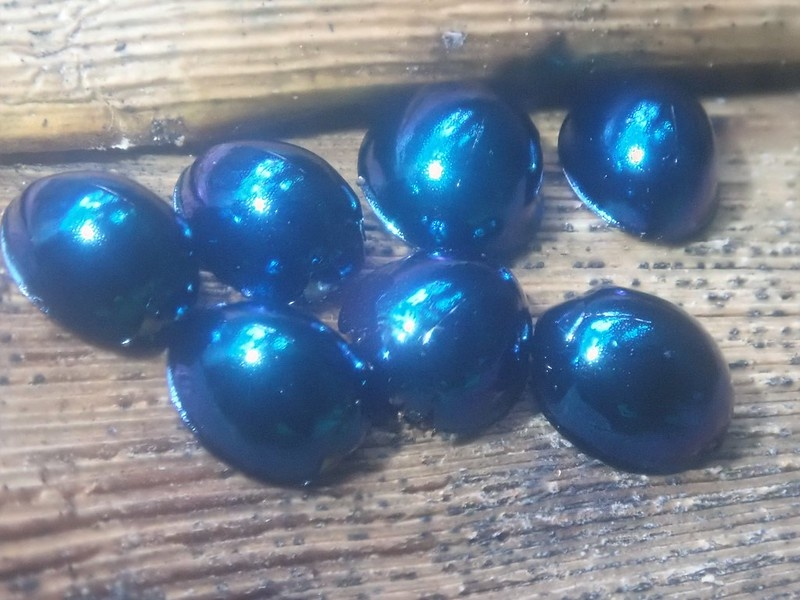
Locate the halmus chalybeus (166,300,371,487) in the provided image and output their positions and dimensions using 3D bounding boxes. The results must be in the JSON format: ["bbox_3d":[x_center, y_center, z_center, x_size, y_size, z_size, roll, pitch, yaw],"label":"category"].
[{"bbox_3d":[-0.187,0.129,1.312,0.287,0.194,0.197,8,60,8],"label":"halmus chalybeus"}]

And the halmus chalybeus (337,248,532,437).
[{"bbox_3d":[0.050,0.058,1.354,0.294,0.188,0.325,2,48,-3],"label":"halmus chalybeus"}]

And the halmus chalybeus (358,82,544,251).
[{"bbox_3d":[0.067,-0.171,1.353,0.252,0.159,0.201,1,59,4],"label":"halmus chalybeus"}]
